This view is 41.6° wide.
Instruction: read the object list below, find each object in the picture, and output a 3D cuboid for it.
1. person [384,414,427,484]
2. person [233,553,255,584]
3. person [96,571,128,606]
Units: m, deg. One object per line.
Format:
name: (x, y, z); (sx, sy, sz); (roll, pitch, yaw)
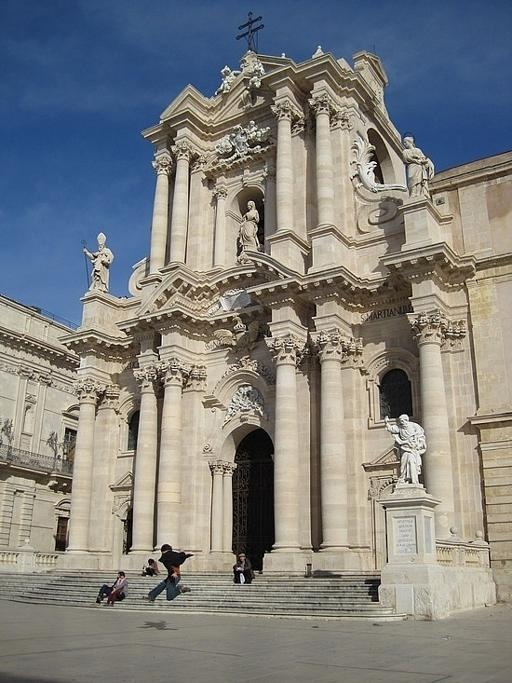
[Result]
person: (3.924, 2.795, 17.514); (0.754, 2.015, 1.076); (-11, -24, 22)
person: (-0.402, 7.275, 21.514); (0.649, 0.945, 1.099); (-1, -21, -2)
person: (-4.337, 7.497, 20.454); (0.690, 0.957, 1.062); (11, -24, -28)
